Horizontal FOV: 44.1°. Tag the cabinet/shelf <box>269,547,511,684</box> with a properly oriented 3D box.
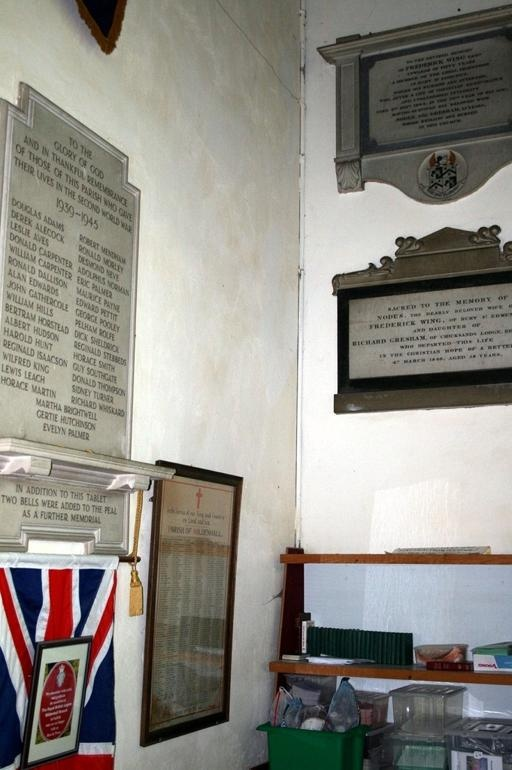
[{"bbox_3d":[0.428,0.789,2.151,0.813,0.550,0.375,3,-5,27],"label":"cabinet/shelf"}]

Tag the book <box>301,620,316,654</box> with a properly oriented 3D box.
[{"bbox_3d":[0.186,0.915,2.275,0.023,0.086,0.084,-1,-7,12],"label":"book"}]
